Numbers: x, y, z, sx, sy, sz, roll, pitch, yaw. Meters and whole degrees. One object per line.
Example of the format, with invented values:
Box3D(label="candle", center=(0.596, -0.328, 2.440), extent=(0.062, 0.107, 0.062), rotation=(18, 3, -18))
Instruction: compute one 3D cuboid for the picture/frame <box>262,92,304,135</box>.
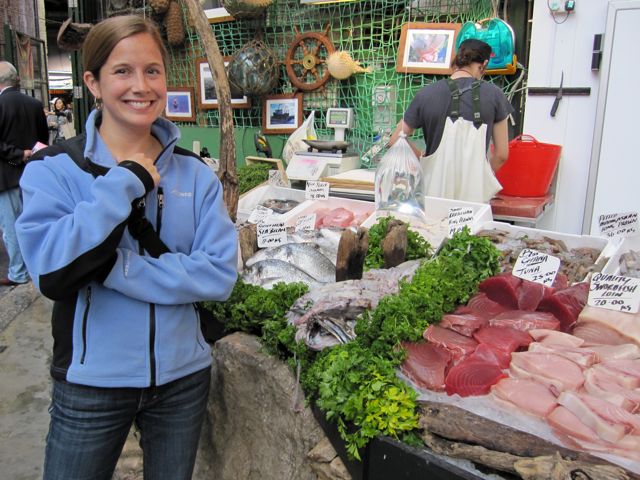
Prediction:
Box3D(label="picture/frame", center=(-0.534, -1.808, 6.401), extent=(0.651, 0.563, 0.051), rotation=(5, 8, 22))

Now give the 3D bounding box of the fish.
Box3D(label="fish", center=(-0.085, -0.012, 2.922), extent=(0.660, 0.268, 1.279), rotation=(5, 17, 12))

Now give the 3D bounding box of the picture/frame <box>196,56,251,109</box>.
Box3D(label="picture/frame", center=(-1.520, -2.488, 7.074), extent=(0.921, 0.814, 0.062), rotation=(0, 5, 7))

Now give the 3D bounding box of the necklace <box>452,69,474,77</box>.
Box3D(label="necklace", center=(1.182, -1.400, 3.738), extent=(0.178, 0.068, 0.115), rotation=(10, 18, 25))
